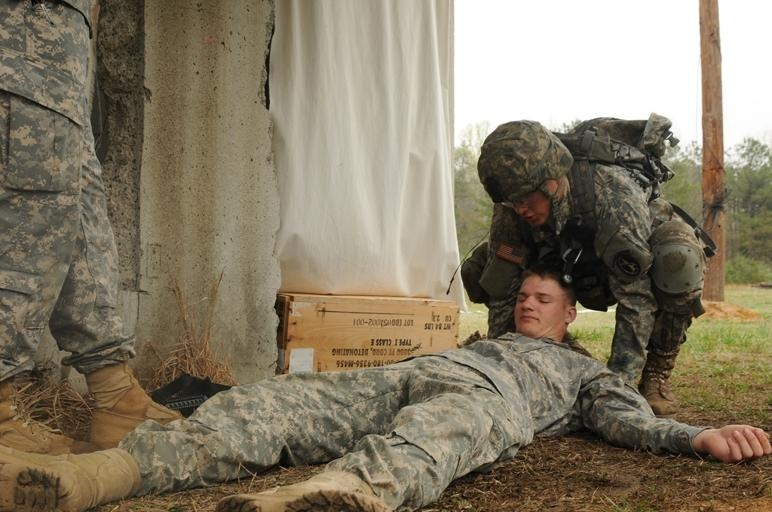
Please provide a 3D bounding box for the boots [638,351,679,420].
[{"bbox_3d":[2.039,0.926,8.373,0.225,0.476,0.680,7,5,3],"label":"boots"}]

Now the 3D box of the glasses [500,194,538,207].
[{"bbox_3d":[0.994,-0.408,8.174,0.158,0.038,0.115,-23,4,-25],"label":"glasses"}]

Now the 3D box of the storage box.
[{"bbox_3d":[-0.155,0.571,8.632,1.856,0.531,0.720,3,0,-22],"label":"storage box"}]
